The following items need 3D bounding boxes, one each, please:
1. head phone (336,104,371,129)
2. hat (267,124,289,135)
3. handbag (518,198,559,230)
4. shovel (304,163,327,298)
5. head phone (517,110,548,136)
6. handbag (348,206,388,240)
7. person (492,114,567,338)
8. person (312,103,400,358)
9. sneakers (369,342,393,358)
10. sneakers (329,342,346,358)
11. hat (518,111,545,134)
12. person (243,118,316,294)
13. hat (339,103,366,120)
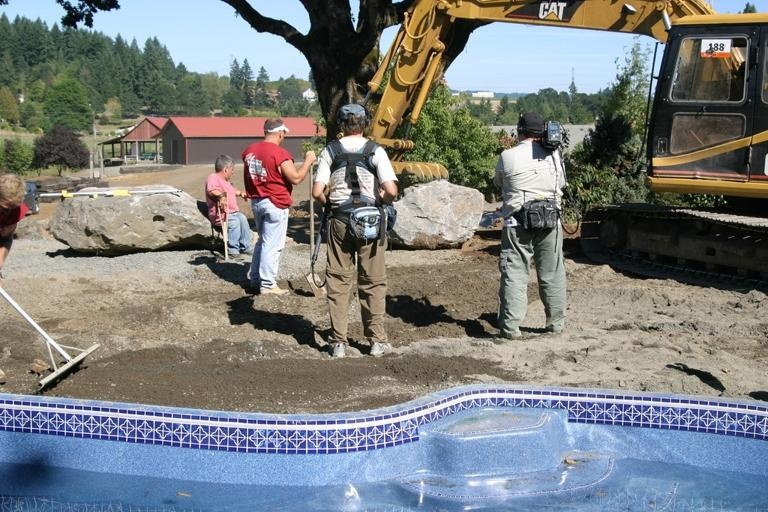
[{"bbox_3d":[-0.354,-1.589,8.811,0.260,0.295,0.245,-1,49,-4],"label":"head phone"},{"bbox_3d":[-1.372,-1.684,10.207,0.392,0.105,0.217,-8,10,-36],"label":"hat"},{"bbox_3d":[1.870,-0.501,9.226,0.334,0.212,0.450,-1,-4,-20],"label":"handbag"},{"bbox_3d":[-0.903,-0.305,10.588,0.357,1.965,0.218,-4,-2,45],"label":"shovel"},{"bbox_3d":[1.809,-1.626,9.349,0.272,0.267,0.352,1,25,-3],"label":"head phone"},{"bbox_3d":[-0.211,-0.388,8.695,0.493,0.441,0.351,-1,27,-7],"label":"handbag"},{"bbox_3d":[1.805,-0.362,9.373,0.878,2.705,0.524,0,10,6],"label":"person"},{"bbox_3d":[-0.318,-0.274,8.847,0.920,2.905,0.497,-1,10,0],"label":"person"},{"bbox_3d":[-0.041,1.102,8.995,0.256,0.153,0.131,-5,7,-22],"label":"sneakers"},{"bbox_3d":[-0.535,1.107,8.966,0.143,0.188,0.195,3,-16,-10],"label":"sneakers"},{"bbox_3d":[1.794,-1.619,9.334,0.251,0.239,0.314,2,26,-3],"label":"hat"},{"bbox_3d":[-1.455,-0.628,10.355,0.795,2.420,1.377,-3,11,-13],"label":"person"},{"bbox_3d":[-0.353,-1.644,8.732,0.319,0.167,0.156,-1,10,-2],"label":"hat"}]
